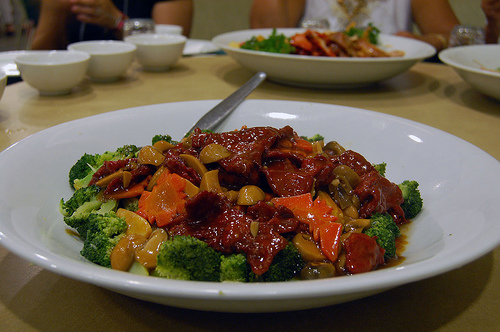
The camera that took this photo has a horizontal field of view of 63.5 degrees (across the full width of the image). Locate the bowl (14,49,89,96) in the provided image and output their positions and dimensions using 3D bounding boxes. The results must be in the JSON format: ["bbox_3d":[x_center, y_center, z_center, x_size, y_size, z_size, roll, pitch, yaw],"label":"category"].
[{"bbox_3d":[-1.299,-0.644,2.709,0.374,0.210,0.379,1,20,-1],"label":"bowl"}]

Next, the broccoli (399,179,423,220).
[{"bbox_3d":[0.670,0.138,1.668,0.118,0.140,0.068,-11,-17,32],"label":"broccoli"}]

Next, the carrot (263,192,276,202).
[{"bbox_3d":[0.076,0.124,1.627,0.031,0.007,0.031,12,25,11],"label":"carrot"}]

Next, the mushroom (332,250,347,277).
[{"bbox_3d":[0.315,0.350,1.448,0.038,0.061,0.072,0,63,8],"label":"mushroom"}]

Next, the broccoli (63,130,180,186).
[{"bbox_3d":[-0.613,-0.030,1.813,0.336,0.070,0.246,-23,13,-23],"label":"broccoli"}]

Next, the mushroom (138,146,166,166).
[{"bbox_3d":[-0.409,-0.039,1.677,0.086,0.049,0.086,-18,38,-23],"label":"mushroom"}]

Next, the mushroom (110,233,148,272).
[{"bbox_3d":[-0.443,0.315,1.475,0.079,0.046,0.136,35,66,-2],"label":"mushroom"}]

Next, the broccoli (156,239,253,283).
[{"bbox_3d":[-0.147,0.355,1.344,0.247,0.092,0.164,12,21,-12],"label":"broccoli"}]

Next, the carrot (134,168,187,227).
[{"bbox_3d":[-0.330,0.122,1.561,0.194,0.183,0.044,2,10,-40],"label":"carrot"}]

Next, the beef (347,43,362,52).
[{"bbox_3d":[0.812,-0.932,3.143,0.090,0.022,0.070,27,25,-6],"label":"beef"}]

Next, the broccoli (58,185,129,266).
[{"bbox_3d":[-0.597,0.218,1.530,0.207,0.114,0.306,-12,39,-18],"label":"broccoli"}]

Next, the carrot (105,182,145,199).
[{"bbox_3d":[-0.502,0.107,1.639,0.124,0.027,0.067,-16,34,-7],"label":"carrot"}]

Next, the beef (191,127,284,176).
[{"bbox_3d":[-0.026,-0.084,1.665,0.243,0.070,0.241,-29,45,-35],"label":"beef"}]

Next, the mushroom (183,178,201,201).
[{"bbox_3d":[-0.227,0.093,1.561,0.072,0.055,0.072,-1,7,-24],"label":"mushroom"}]

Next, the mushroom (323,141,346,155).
[{"bbox_3d":[0.395,-0.082,1.875,0.064,0.047,0.067,0,4,-30],"label":"mushroom"}]

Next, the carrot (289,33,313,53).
[{"bbox_3d":[0.395,-0.984,3.172,0.122,0.050,0.188,-34,55,-16],"label":"carrot"}]

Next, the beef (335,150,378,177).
[{"bbox_3d":[0.453,-0.012,1.735,0.122,0.036,0.124,33,40,18],"label":"beef"}]

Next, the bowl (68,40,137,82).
[{"bbox_3d":[-1.085,-0.753,3.050,0.379,0.201,0.388,3,19,-1],"label":"bowl"}]

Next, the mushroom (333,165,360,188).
[{"bbox_3d":[0.402,0.033,1.699,0.093,0.037,0.084,45,0,-3],"label":"mushroom"}]

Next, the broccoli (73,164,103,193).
[{"bbox_3d":[-0.688,0.067,1.689,0.094,0.026,0.043,-44,98,-21],"label":"broccoli"}]

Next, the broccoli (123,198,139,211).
[{"bbox_3d":[-0.478,0.156,1.635,0.049,0.020,0.054,-22,43,-37],"label":"broccoli"}]

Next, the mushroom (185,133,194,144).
[{"bbox_3d":[-0.263,-0.117,1.761,0.032,0.032,0.032,-1,8,-30],"label":"mushroom"}]

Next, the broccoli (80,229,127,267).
[{"bbox_3d":[-0.527,0.290,1.453,0.124,0.066,0.098,-26,60,-27],"label":"broccoli"}]

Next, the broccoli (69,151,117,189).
[{"bbox_3d":[-0.644,0.008,1.782,0.213,0.095,0.174,-10,29,-17],"label":"broccoli"}]

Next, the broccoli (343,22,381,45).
[{"bbox_3d":[0.976,-1.108,3.434,0.292,0.145,0.283,18,6,9],"label":"broccoli"}]

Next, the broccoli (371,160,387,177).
[{"bbox_3d":[0.587,0.007,1.852,0.030,0.066,0.064,-33,44,-7],"label":"broccoli"}]

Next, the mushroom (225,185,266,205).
[{"bbox_3d":[-0.019,0.098,1.567,0.093,0.026,0.089,7,22,24],"label":"mushroom"}]

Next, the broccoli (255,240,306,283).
[{"bbox_3d":[0.121,0.349,1.415,0.118,0.055,0.156,-7,41,36],"label":"broccoli"}]

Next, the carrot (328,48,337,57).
[{"bbox_3d":[0.630,-0.852,3.082,0.067,0.022,0.067,19,48,-7],"label":"carrot"}]

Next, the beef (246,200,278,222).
[{"bbox_3d":[0.044,0.168,1.524,0.078,0.032,0.077,1,38,3],"label":"beef"}]

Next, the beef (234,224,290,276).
[{"bbox_3d":[0.053,0.274,1.402,0.182,0.066,0.138,-30,54,-33],"label":"beef"}]

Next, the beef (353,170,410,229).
[{"bbox_3d":[0.509,0.095,1.703,0.081,0.237,0.259,15,-1,-4],"label":"beef"}]

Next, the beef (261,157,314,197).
[{"bbox_3d":[0.140,0.031,1.596,0.173,0.042,0.168,-2,58,3],"label":"beef"}]

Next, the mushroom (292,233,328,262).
[{"bbox_3d":[0.215,0.306,1.471,0.099,0.032,0.097,30,11,-24],"label":"mushroom"}]

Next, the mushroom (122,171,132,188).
[{"bbox_3d":[-0.504,0.055,1.632,0.033,0.060,0.014,5,23,-11],"label":"mushroom"}]

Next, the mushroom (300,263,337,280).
[{"bbox_3d":[0.238,0.372,1.414,0.113,0.053,0.064,8,43,1],"label":"mushroom"}]

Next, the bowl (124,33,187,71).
[{"bbox_3d":[-0.730,-0.934,3.262,0.386,0.188,0.381,0,15,0],"label":"bowl"}]

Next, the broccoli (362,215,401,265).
[{"bbox_3d":[0.513,0.264,1.528,0.124,0.053,0.162,-13,41,9],"label":"broccoli"}]

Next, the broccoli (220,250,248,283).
[{"bbox_3d":[-0.053,0.340,1.371,0.087,0.088,0.043,-7,-2,-13],"label":"broccoli"}]

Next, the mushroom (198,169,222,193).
[{"bbox_3d":[-0.156,0.055,1.587,0.031,0.088,0.063,16,26,38],"label":"mushroom"}]

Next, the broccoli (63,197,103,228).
[{"bbox_3d":[-0.649,0.185,1.579,0.076,0.038,0.124,5,40,32],"label":"broccoli"}]

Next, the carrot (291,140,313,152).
[{"bbox_3d":[0.240,-0.099,1.852,0.086,0.046,0.029,9,54,1],"label":"carrot"}]

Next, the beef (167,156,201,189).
[{"bbox_3d":[-0.278,0.043,1.651,0.152,0.040,0.083,43,35,0],"label":"beef"}]
